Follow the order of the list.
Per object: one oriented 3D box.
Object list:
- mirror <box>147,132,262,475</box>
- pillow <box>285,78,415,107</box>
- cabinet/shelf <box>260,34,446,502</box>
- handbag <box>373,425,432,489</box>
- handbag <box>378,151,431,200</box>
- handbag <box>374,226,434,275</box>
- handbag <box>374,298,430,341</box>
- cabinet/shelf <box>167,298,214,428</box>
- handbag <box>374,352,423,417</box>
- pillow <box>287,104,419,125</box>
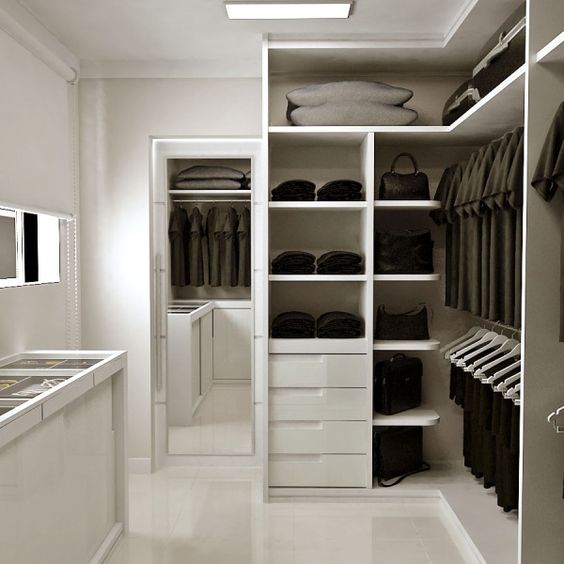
[{"bbox_3d":[-0.535,-0.018,3.803,0.555,2.018,0.212,3,-31,-3],"label":"mirror"},{"bbox_3d":[0.367,-1.043,3.213,0.683,0.142,0.116,-2,9,4],"label":"pillow"},{"bbox_3d":[0.364,-0.117,3.352,0.909,2.454,0.620,-1,8,3],"label":"cabinet/shelf"},{"bbox_3d":[0.675,0.890,3.341,0.370,0.351,0.223,0,-5,-35],"label":"handbag"},{"bbox_3d":[0.705,-0.620,3.364,0.241,0.302,0.093,-1,1,0],"label":"handbag"},{"bbox_3d":[0.666,-0.255,3.336,0.331,0.232,0.292,-6,-45,8],"label":"handbag"},{"bbox_3d":[0.704,0.237,3.424,0.289,0.260,0.192,0,-13,12],"label":"handbag"},{"bbox_3d":[-0.590,0.506,3.702,0.248,0.785,0.709,0,1,3],"label":"cabinet/shelf"},{"bbox_3d":[0.676,0.580,3.402,0.268,0.327,0.172,-3,0,-35],"label":"handbag"},{"bbox_3d":[0.391,-0.921,3.197,0.691,0.129,0.079,-2,9,5],"label":"pillow"}]
